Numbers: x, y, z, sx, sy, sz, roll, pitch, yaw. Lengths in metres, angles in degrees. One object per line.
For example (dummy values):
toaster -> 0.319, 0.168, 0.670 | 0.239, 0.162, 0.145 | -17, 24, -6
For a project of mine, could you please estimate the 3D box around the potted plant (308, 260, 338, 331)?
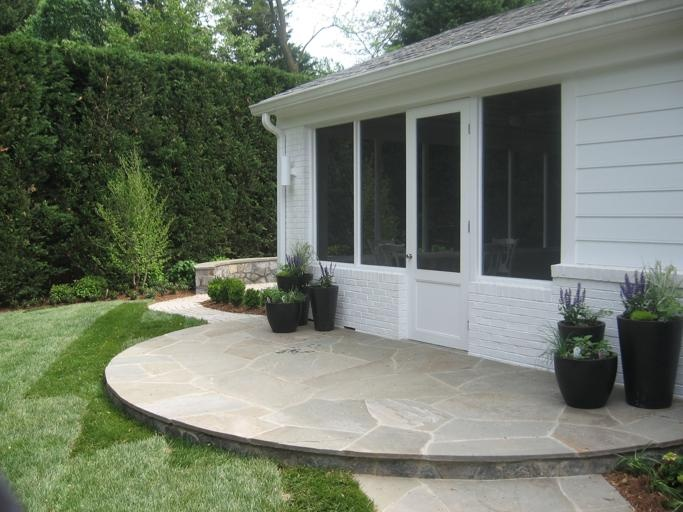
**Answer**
potted plant -> -0.257, 0.652, 8.555 | 0.415, 0.873, 0.614 | -4, 10, -1

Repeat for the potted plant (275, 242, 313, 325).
potted plant -> -0.759, 0.360, 8.769 | 0.408, 0.989, 0.451 | 24, -19, -27

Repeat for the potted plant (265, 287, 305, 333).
potted plant -> -0.829, 0.801, 8.309 | 0.652, 0.627, 0.593 | 0, -4, -2
